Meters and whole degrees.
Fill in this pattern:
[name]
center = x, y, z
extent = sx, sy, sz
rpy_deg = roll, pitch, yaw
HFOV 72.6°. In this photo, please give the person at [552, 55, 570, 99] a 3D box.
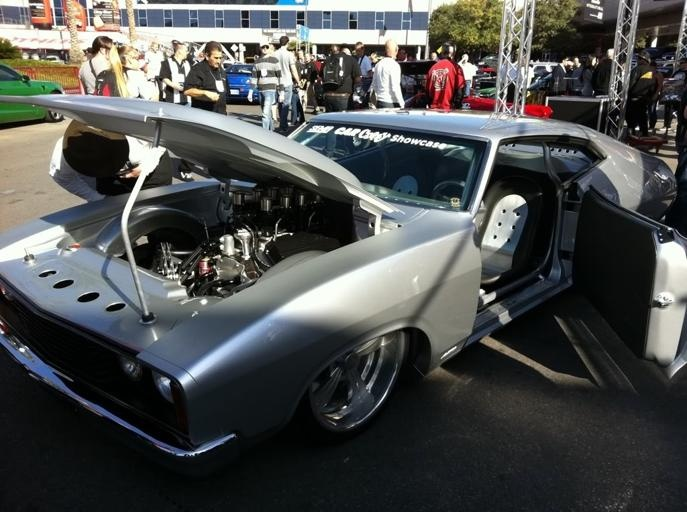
[person]
center = 8.791, -7.338, 18.920
extent = 0.685, 1.326, 3.509
rpy_deg = 11, 25, 21
